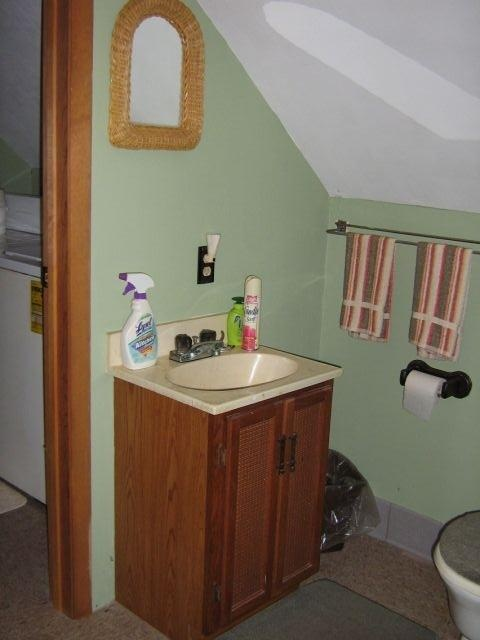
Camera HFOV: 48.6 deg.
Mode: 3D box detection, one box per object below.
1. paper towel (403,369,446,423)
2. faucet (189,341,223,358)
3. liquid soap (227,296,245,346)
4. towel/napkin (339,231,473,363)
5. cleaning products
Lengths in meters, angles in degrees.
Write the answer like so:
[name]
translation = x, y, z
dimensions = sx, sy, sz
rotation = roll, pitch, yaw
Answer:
[paper towel]
translation = 0.642, 0.255, 1.843
dimensions = 0.079, 0.160, 0.124
rotation = -13, 28, -38
[faucet]
translation = -0.100, 0.091, 1.598
dimensions = 0.037, 0.044, 0.107
rotation = -2, -1, 36
[liquid soap]
translation = -0.017, -0.001, 1.769
dimensions = 0.052, 0.161, 0.152
rotation = 3, 11, -5
[towel/napkin]
translation = 0.583, -0.091, 1.828
dimensions = 0.074, 0.369, 0.363
rotation = -16, 28, -34
[cleaning products]
translation = -0.278, 0.000, 1.447
dimensions = 0.100, 0.256, 0.115
rotation = 3, 11, -3
